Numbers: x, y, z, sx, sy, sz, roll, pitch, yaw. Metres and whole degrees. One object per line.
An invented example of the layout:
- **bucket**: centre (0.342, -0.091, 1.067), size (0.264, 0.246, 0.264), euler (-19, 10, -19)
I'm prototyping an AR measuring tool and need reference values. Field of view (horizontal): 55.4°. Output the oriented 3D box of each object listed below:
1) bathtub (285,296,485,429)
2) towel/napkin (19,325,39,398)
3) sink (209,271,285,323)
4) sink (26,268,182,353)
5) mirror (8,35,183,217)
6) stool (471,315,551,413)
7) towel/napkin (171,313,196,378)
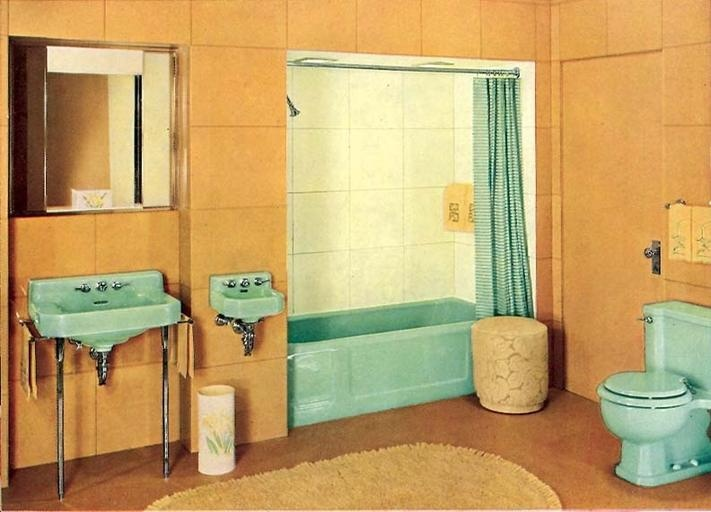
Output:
- **bathtub**: centre (0.141, 0.761, 5.319), size (1.488, 0.624, 1.074), euler (-5, 11, -11)
- **towel/napkin**: centre (-1.912, 0.608, 3.944), size (0.081, 0.351, 0.481), euler (-3, 4, -28)
- **sink**: centre (-0.710, 0.246, 4.282), size (0.382, 0.258, 0.343), euler (-3, 8, -29)
- **sink**: centre (-1.507, 0.461, 3.981), size (0.772, 0.379, 0.502), euler (-4, 9, -28)
- **mirror**: centre (-1.655, -0.834, 4.187), size (1.125, 1.093, 0.054), euler (-2, 9, -24)
- **stool**: centre (1.151, 0.784, 5.133), size (0.642, 0.594, 0.589), euler (-9, 11, -40)
- **towel/napkin**: centre (-1.070, 0.541, 4.228), size (0.068, 0.419, 0.471), euler (-1, 2, -29)
